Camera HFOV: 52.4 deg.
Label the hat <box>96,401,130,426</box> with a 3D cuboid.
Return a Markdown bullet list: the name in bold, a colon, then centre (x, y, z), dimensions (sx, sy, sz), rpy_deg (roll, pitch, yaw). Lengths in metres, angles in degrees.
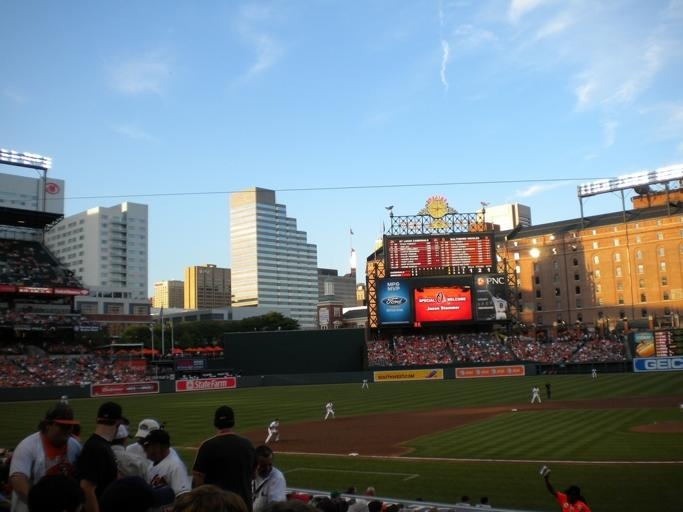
- **hat**: centre (-5.497, 3.698, 16.414), dimensions (0.506, 0.543, 0.551), rpy_deg (-1, -9, -11)

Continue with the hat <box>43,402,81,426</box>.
- **hat**: centre (-6.664, 3.641, 16.304), dimensions (0.766, 0.381, 0.556), rpy_deg (5, -4, 30)

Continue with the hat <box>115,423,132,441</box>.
- **hat**: centre (-5.482, 4.419, 17.333), dimensions (0.426, 0.295, 0.544), rpy_deg (6, 14, -6)

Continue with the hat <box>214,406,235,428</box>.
- **hat**: centre (-2.862, 3.877, 16.818), dimensions (0.449, 0.537, 0.491), rpy_deg (-1, -9, -16)
